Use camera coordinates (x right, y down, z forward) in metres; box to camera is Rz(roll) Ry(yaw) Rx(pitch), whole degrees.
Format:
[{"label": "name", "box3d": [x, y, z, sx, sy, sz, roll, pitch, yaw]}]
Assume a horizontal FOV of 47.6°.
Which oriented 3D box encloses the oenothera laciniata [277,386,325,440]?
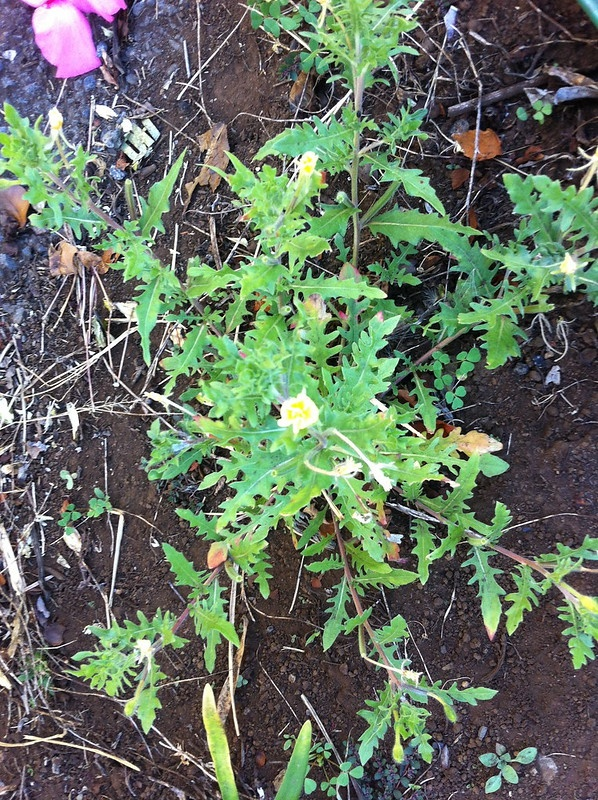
[{"label": "oenothera laciniata", "box3d": [0.014, 0.025, 1.627, 0.079, 0.113, 0.121, 28, 70, 15]}]
